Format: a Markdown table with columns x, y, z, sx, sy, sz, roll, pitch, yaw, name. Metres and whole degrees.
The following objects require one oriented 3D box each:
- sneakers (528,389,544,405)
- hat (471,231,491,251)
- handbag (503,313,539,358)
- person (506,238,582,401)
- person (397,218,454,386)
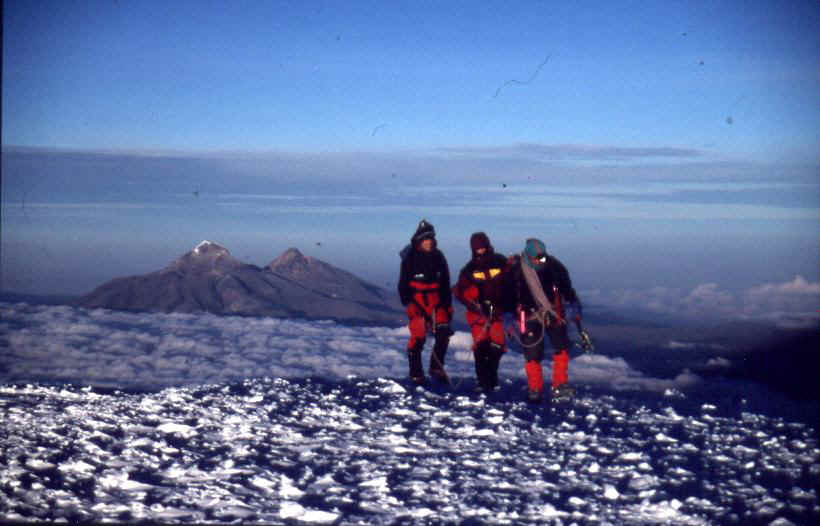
| x | y | z | sx | sy | sz | roll | pitch | yaw | name |
| --- | --- | --- | --- | --- | --- | --- | --- | --- | --- |
| 2.104 | 2.242 | 14.469 | 0.235 | 0.208 | 0.225 | -1 | -1 | -6 | sneakers |
| 1.199 | -0.352 | 14.643 | 0.323 | 0.305 | 0.180 | 1 | 5 | 9 | hat |
| 1.886 | 1.156 | 14.520 | 0.712 | 0.658 | 0.322 | 4 | 6 | 33 | handbag |
| 2.262 | 0.946 | 14.541 | 1.122 | 2.655 | 0.519 | 1 | 5 | 5 | person |
| 0.269 | 0.703 | 15.245 | 0.924 | 2.893 | 0.718 | 0 | 5 | -1 | person |
